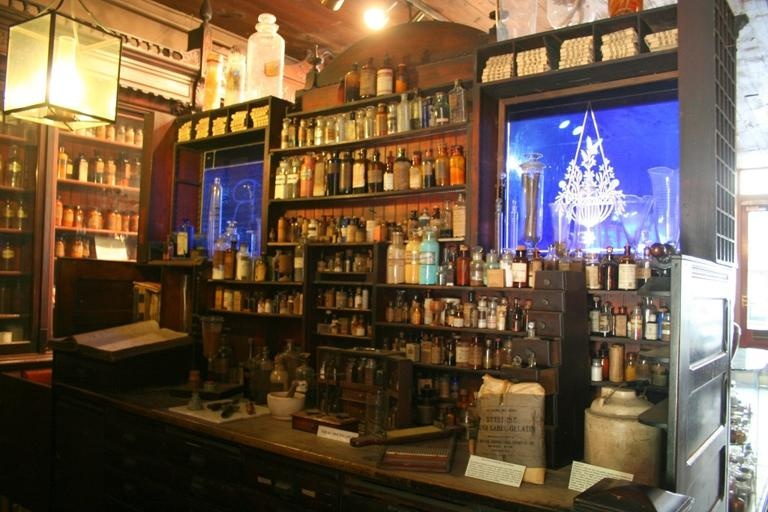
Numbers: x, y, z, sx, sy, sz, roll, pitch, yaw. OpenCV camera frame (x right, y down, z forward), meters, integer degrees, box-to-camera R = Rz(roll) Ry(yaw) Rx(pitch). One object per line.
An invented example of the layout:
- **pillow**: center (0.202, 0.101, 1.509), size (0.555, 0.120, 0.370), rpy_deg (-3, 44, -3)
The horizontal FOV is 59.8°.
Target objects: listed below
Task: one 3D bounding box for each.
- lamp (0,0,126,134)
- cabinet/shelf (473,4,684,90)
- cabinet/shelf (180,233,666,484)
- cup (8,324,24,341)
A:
- **lamp**: center (-2.302, -1.366, 4.834), size (0.736, 0.719, 0.318), rpy_deg (2, -4, -26)
- **cabinet/shelf**: center (1.436, -1.600, 5.157), size (1.490, 0.405, 0.235), rpy_deg (-1, -4, 22)
- **cabinet/shelf**: center (0.429, 0.651, 5.010), size (3.139, 1.695, 1.271), rpy_deg (-2, -4, 26)
- **cup**: center (-3.626, 0.765, 6.614), size (0.149, 0.139, 0.145), rpy_deg (2, -2, 0)
